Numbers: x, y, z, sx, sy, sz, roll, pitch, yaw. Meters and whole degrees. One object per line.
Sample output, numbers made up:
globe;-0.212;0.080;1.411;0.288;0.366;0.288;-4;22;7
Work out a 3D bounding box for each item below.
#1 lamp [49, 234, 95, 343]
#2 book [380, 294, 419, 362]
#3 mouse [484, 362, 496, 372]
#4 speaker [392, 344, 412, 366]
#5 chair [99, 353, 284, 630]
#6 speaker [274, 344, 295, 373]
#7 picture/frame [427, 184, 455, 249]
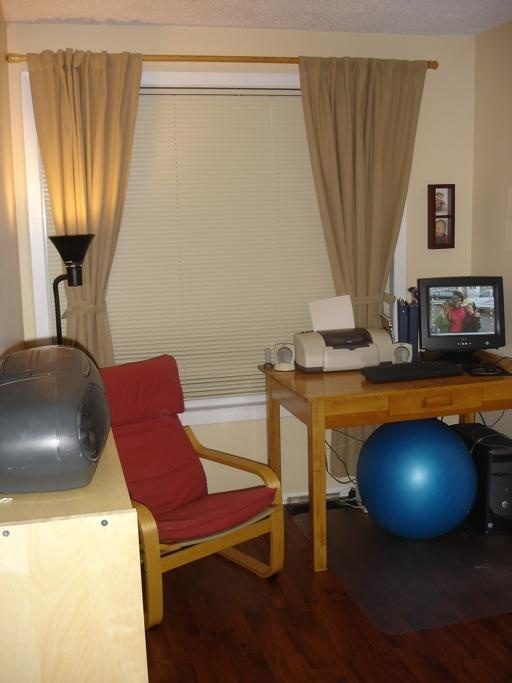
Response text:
lamp;-0.833;-0.246;2.571;0.207;0.593;0.212;-10;36;-21
book;0.731;-0.059;2.862;0.192;0.341;0.271;-3;17;-2
mouse;1.090;0.119;2.607;0.035;0.027;0.055;2;9;7
speaker;0.719;0.064;2.762;0.077;0.102;0.043;2;7;7
chair;-0.322;0.528;2.407;0.745;1.112;0.935;-8;12;-34
speaker;0.142;0.088;2.781;0.098;0.135;0.039;1;-5;5
picture/frame;1.037;-0.695;3.153;0.162;0.349;0.035;-4;7;-11
